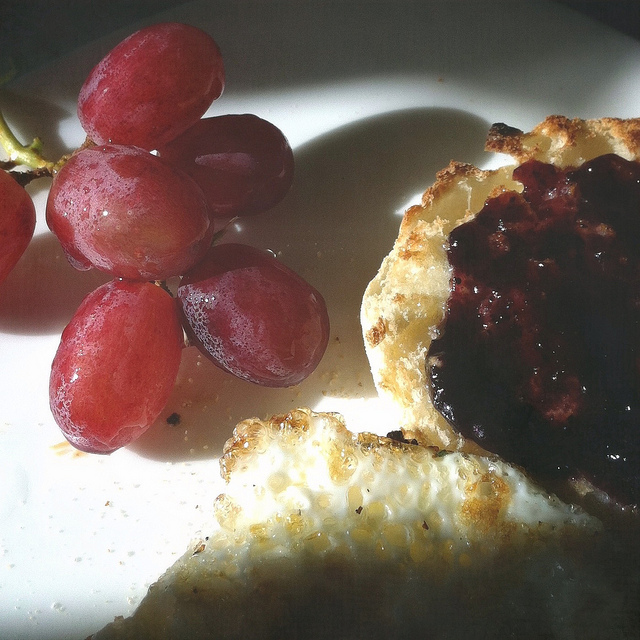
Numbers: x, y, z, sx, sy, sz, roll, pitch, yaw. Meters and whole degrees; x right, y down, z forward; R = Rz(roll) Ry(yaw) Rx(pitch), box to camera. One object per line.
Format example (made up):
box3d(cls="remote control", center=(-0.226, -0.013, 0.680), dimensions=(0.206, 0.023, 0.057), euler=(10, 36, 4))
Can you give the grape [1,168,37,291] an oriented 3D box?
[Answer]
box3d(cls="grape", center=(-0.262, -0.085, 0.793), dimensions=(0.040, 0.059, 0.080), euler=(4, 103, 7))
